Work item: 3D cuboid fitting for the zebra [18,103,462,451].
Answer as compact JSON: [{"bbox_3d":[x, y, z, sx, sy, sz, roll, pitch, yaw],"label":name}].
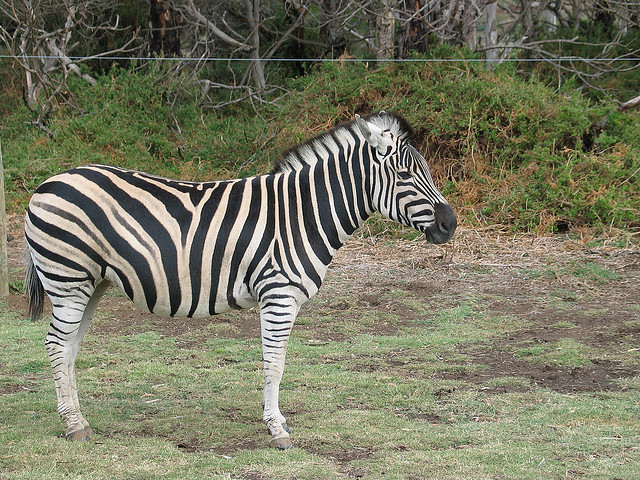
[{"bbox_3d":[-0.647,0.480,8.439,4.520,2.927,1.311,1,1,-1],"label":"zebra"}]
